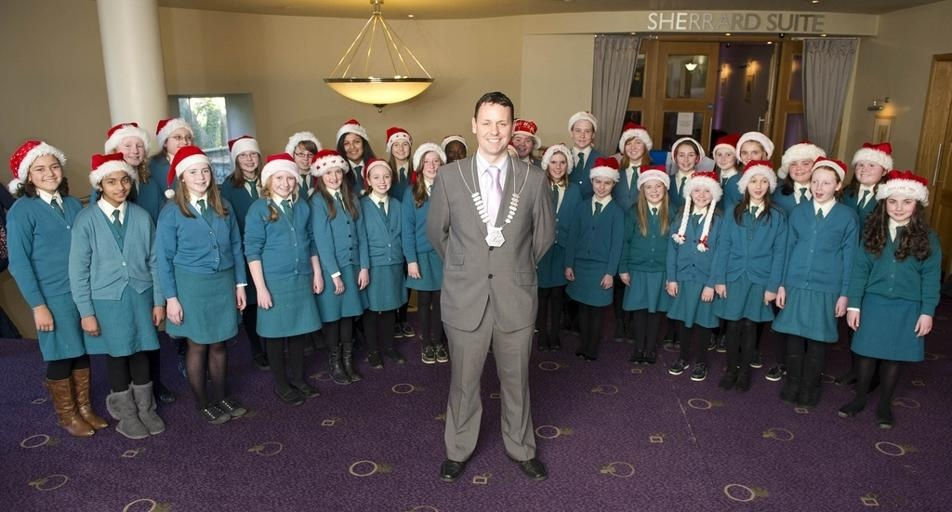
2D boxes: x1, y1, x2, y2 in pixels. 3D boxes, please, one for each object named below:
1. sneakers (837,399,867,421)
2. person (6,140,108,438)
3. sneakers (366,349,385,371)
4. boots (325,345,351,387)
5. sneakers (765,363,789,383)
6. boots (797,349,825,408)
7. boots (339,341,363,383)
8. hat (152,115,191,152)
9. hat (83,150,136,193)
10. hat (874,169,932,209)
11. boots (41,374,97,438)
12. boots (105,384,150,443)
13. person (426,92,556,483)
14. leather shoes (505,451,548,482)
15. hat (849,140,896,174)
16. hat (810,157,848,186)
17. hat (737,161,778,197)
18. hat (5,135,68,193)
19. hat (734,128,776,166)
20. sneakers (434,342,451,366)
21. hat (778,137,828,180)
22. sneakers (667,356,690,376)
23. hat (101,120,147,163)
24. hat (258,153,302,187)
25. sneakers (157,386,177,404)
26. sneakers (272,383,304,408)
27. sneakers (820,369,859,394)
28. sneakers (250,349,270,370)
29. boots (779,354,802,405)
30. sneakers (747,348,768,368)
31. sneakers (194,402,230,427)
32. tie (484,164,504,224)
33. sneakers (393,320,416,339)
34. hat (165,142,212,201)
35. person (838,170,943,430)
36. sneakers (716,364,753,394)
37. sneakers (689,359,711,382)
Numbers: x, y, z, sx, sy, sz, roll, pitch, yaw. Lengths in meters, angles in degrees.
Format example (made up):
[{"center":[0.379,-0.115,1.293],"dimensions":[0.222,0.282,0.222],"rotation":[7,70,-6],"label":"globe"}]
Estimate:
[{"center":[3.780,1.541,6.478],"dimensions":[0.314,0.063,0.142],"rotation":[-24,30,-21],"label":"sneakers"},{"center":[-4.033,0.334,6.143],"dimensions":[0.656,2.744,0.874],"rotation":[-10,19,-30],"label":"person"},{"center":[-1.127,1.163,7.184],"dimensions":[0.137,0.095,0.245],"rotation":[-16,58,-10],"label":"sneakers"},{"center":[-1.466,1.180,6.949],"dimensions":[0.197,0.359,0.509],"rotation":[-7,11,-28],"label":"boots"},{"center":[3.238,1.270,6.945],"dimensions":[0.118,0.111,0.312],"rotation":[2,8,44],"label":"sneakers"},{"center":[3.434,1.203,6.566],"dimensions":[0.208,0.641,0.294],"rotation":[10,19,30],"label":"boots"},{"center":[-1.371,1.143,6.981],"dimensions":[0.166,0.365,0.474],"rotation":[-6,15,-24],"label":"boots"},{"center":[-3.333,-1.358,7.062],"dimensions":[0.438,0.355,0.354],"rotation":[-5,2,10],"label":"hat"},{"center":[-3.505,-0.809,6.166],"dimensions":[0.360,0.344,0.335],"rotation":[-10,19,-30],"label":"hat"},{"center":[4.184,-0.659,6.314],"dimensions":[0.327,0.291,0.431],"rotation":[4,1,7],"label":"hat"},{"center":[-3.927,1.459,6.239],"dimensions":[0.479,0.553,0.202],"rotation":[15,21,17],"label":"boots"},{"center":[-3.397,1.543,6.293],"dimensions":[0.597,0.427,0.238],"rotation":[6,15,37],"label":"boots"},{"center":[0.120,0.314,5.701],"dimensions":[1.105,3.386,0.698],"rotation":[0,17,0],"label":"person"},{"center":[0.468,1.942,5.970],"dimensions":[0.387,0.164,0.164],"rotation":[22,25,31],"label":"leather shoes"},{"center":[4.343,-1.079,7.094],"dimensions":[0.390,0.352,0.529],"rotation":[4,1,13],"label":"hat"},{"center":[3.630,-0.910,6.623],"dimensions":[0.351,0.250,0.370],"rotation":[11,6,42],"label":"hat"},{"center":[2.970,-0.818,6.837],"dimensions":[0.359,0.338,0.344],"rotation":[9,-4,6],"label":"hat"},{"center":[-4.277,-0.852,6.139],"dimensions":[0.544,0.471,0.326],"rotation":[6,18,21],"label":"hat"},{"center":[3.241,-1.255,7.462],"dimensions":[0.345,0.361,0.455],"rotation":[-4,-15,31],"label":"hat"},{"center":[-0.392,1.105,7.209],"dimensions":[0.107,0.107,0.269],"rotation":[-1,10,-11],"label":"sneakers"},{"center":[3.524,-1.055,7.003],"dimensions":[0.406,0.310,0.471],"rotation":[-4,3,22],"label":"hat"},{"center":[2.230,1.218,7.073],"dimensions":[0.130,0.106,0.260],"rotation":[10,15,42],"label":"sneakers"},{"center":[-3.745,-1.199,6.748],"dimensions":[0.408,0.436,0.477],"rotation":[-5,14,-44],"label":"hat"},{"center":[-2.013,-0.908,6.573],"dimensions":[0.345,0.319,0.341],"rotation":[-5,-9,-27],"label":"hat"},{"center":[-3.193,1.448,6.594],"dimensions":[0.259,0.105,0.094],"rotation":[15,23,31],"label":"sneakers"},{"center":[-1.925,1.423,6.637],"dimensions":[0.296,0.173,0.177],"rotation":[14,22,40],"label":"sneakers"},{"center":[3.889,1.342,6.889],"dimensions":[0.472,0.186,0.145],"rotation":[7,32,15],"label":"sneakers"},{"center":[-2.391,1.158,7.092],"dimensions":[0.129,0.105,0.262],"rotation":[-8,15,-40],"label":"sneakers"},{"center":[3.253,1.279,6.612],"dimensions":[0.190,0.459,0.484],"rotation":[5,41,22],"label":"boots"},{"center":[3.124,1.131,7.165],"dimensions":[0.165,0.164,0.424],"rotation":[0,11,12],"label":"sneakers"},{"center":[-2.631,1.558,6.403],"dimensions":[0.383,0.129,0.153],"rotation":[13,18,37],"label":"sneakers"},{"center":[0.160,-0.540,5.605],"dimensions":[0.139,0.476,0.141],"rotation":[0,17,2],"label":"tie"},{"center":[-0.873,0.904,7.713],"dimensions":[0.121,0.113,0.311],"rotation":[-4,7,-40],"label":"sneakers"},{"center":[-2.828,-0.884,6.270],"dimensions":[0.424,0.369,0.322],"rotation":[-15,-9,18],"label":"hat"},{"center":[4.088,0.419,6.334],"dimensions":[0.785,2.414,0.791],"rotation":[4,17,14],"label":"person"},{"center":[2.759,1.300,6.812],"dimensions":[0.211,0.142,0.367],"rotation":[3,8,29],"label":"sneakers"},{"center":[2.426,1.250,7.001],"dimensions":[0.121,0.125,0.315],"rotation":[5,11,32],"label":"sneakers"}]
